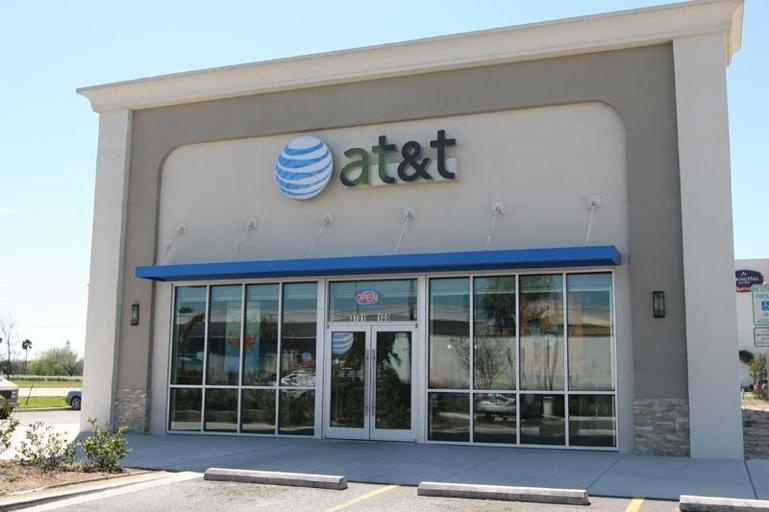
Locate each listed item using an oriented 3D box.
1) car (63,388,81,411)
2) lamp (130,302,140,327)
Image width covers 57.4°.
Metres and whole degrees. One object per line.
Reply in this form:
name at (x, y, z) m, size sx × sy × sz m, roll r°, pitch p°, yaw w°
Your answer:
car at (-16.476, 7.599, 37.198) m, size 0.602 × 1.057 × 3.302 m, roll 5°, pitch -13°, yaw -26°
lamp at (-8.492, 2.005, 23.936) m, size 0.357 × 0.738 × 0.131 m, roll -6°, pitch -12°, yaw 27°
